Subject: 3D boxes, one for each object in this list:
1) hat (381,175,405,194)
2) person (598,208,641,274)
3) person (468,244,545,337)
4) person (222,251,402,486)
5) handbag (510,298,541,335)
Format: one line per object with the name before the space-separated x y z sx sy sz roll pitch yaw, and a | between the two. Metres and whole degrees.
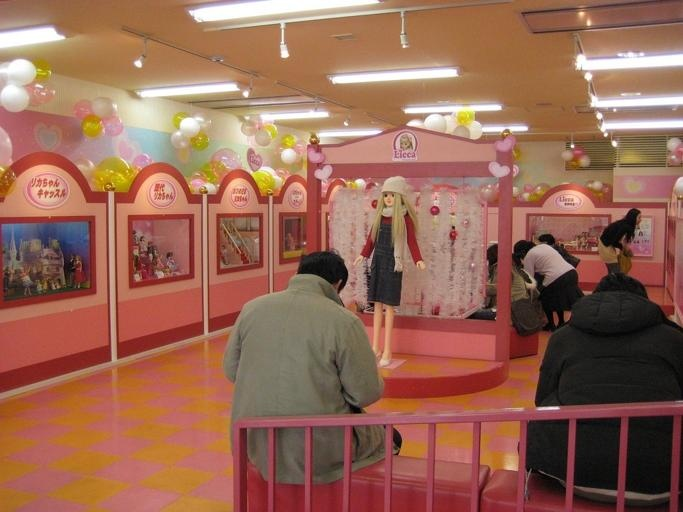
hat | 0.571 -0.754 5.699 0.252 0.202 0.261 0 7 3
person | 4.737 -0.252 9.043 0.596 1.099 0.714 3 7 31
person | 2.205 0.355 7.009 0.630 1.082 0.985 -7 13 -26
person | -0.217 0.593 2.779 0.876 1.170 0.476 0 6 4
handbag | 2.292 0.759 6.654 0.388 0.487 0.171 -1 -8 -22
